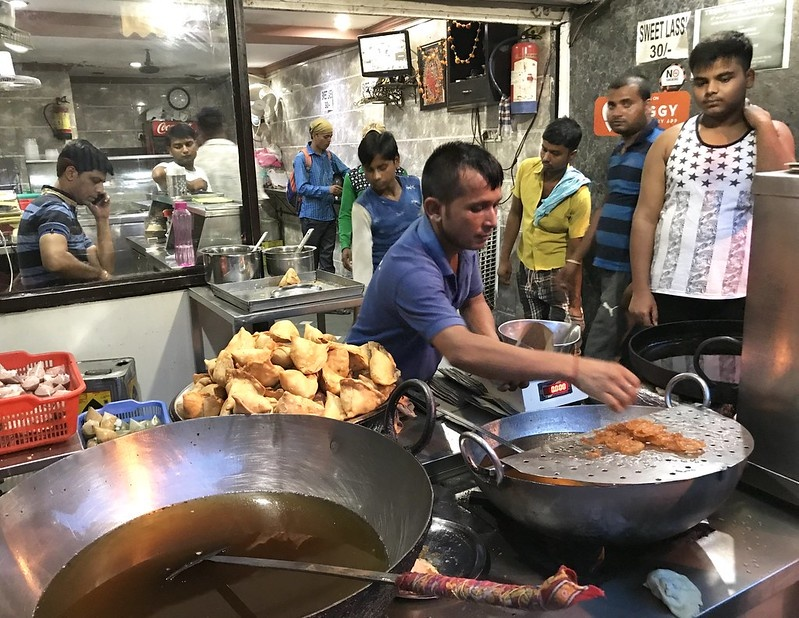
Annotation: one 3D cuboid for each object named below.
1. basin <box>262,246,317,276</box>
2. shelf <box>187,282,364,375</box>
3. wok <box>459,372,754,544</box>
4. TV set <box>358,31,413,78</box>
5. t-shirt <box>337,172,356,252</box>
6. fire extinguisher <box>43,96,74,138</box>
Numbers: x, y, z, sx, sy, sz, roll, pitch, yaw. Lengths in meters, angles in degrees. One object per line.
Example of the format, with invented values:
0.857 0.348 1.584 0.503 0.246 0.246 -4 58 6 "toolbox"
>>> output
-0.716 -0.322 3.729 0.246 0.157 0.233 -1 7 0 "basin"
-0.786 0.123 3.543 0.916 0.536 1.022 -1 12 -27 "shelf"
0.437 0.298 1.245 0.611 0.239 0.435 0 13 5 "wok"
-0.149 -2.547 5.749 0.547 0.422 0.082 4 31 20 "TV set"
-0.415 -0.787 4.628 0.178 0.663 0.190 3 6 -9 "t-shirt"
-1.809 -1.023 3.078 0.133 0.229 0.049 -10 16 -32 "fire extinguisher"
